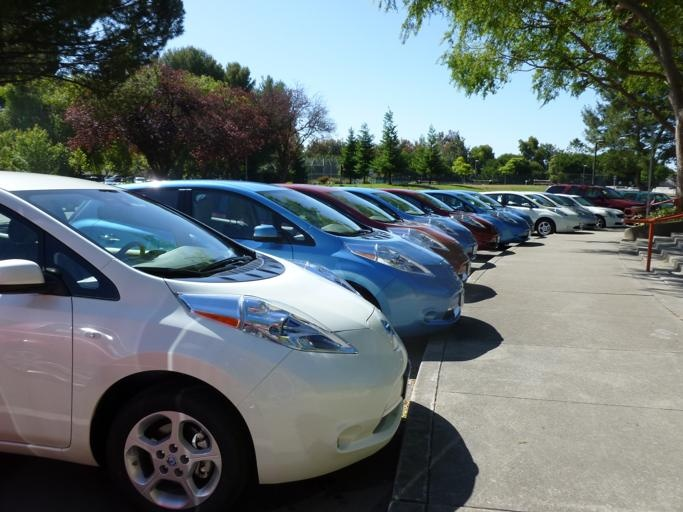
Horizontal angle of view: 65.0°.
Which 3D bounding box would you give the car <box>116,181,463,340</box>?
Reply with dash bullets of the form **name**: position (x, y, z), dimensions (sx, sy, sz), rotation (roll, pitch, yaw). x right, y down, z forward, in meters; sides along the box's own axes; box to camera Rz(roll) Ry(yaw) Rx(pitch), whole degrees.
- **car**: position (-0.592, -0.177, 6.135), dimensions (3.749, 1.178, 1.758), rotation (4, 6, 15)
